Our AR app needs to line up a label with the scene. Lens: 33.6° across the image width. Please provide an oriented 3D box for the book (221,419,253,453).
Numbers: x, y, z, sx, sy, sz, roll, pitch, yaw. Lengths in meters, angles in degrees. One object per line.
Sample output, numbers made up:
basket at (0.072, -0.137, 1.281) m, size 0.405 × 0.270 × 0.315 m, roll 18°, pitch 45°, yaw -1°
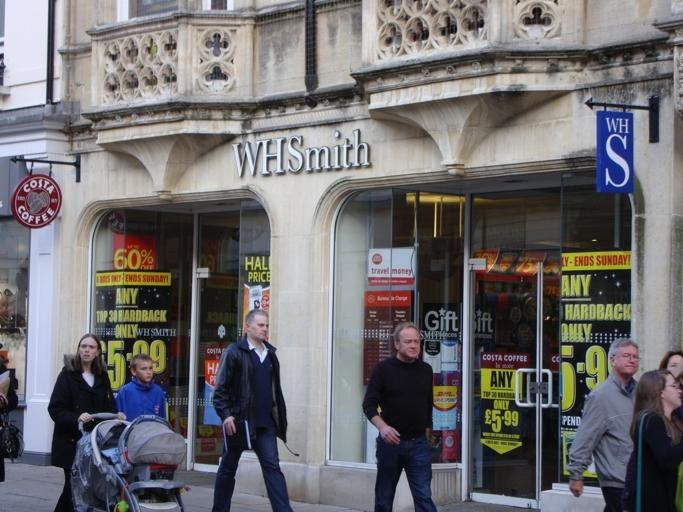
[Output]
book at (-1.089, 1.872, 11.952) m, size 0.270 × 0.323 × 0.307 m, roll 0°, pitch -5°, yaw -2°
